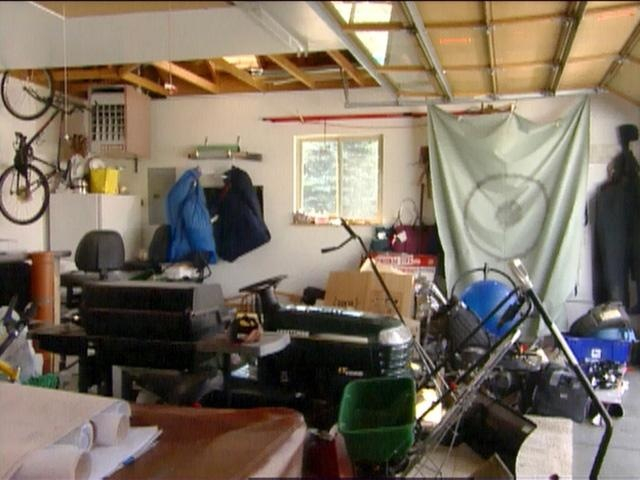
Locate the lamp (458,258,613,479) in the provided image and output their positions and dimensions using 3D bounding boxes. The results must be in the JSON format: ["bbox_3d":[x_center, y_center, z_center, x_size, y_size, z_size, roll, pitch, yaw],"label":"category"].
[{"bbox_3d":[1.680,1.023,4.493,0.945,1.451,0.394,-24,22,29],"label":"lamp"}]

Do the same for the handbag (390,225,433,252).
[{"bbox_3d":[1.115,-0.012,6.943,0.512,0.339,0.147,1,4,6],"label":"handbag"}]
